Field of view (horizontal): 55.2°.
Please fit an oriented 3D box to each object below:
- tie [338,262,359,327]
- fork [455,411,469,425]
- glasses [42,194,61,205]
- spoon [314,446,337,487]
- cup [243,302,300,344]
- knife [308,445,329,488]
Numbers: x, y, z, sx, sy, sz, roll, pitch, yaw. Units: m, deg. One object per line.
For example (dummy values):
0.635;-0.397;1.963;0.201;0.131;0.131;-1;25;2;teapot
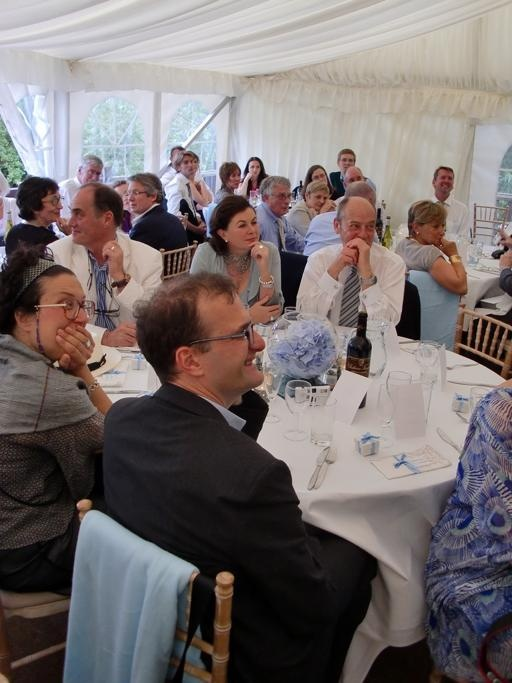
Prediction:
0.509;-0.238;2.679;0.121;0.038;0.457;-5;45;22;tie
0.657;0.247;1.556;0.015;0.014;0.084;-11;6;13;fork
-1.528;-1.048;3.653;0.113;0.061;0.102;0;14;19;glasses
0.167;0.318;1.237;0.040;0.018;0.187;12;20;18;spoon
0.055;-0.066;1.770;0.190;0.124;0.176;0;18;0;cup
0.147;0.313;1.220;0.026;0.011;0.171;5;12;12;knife
